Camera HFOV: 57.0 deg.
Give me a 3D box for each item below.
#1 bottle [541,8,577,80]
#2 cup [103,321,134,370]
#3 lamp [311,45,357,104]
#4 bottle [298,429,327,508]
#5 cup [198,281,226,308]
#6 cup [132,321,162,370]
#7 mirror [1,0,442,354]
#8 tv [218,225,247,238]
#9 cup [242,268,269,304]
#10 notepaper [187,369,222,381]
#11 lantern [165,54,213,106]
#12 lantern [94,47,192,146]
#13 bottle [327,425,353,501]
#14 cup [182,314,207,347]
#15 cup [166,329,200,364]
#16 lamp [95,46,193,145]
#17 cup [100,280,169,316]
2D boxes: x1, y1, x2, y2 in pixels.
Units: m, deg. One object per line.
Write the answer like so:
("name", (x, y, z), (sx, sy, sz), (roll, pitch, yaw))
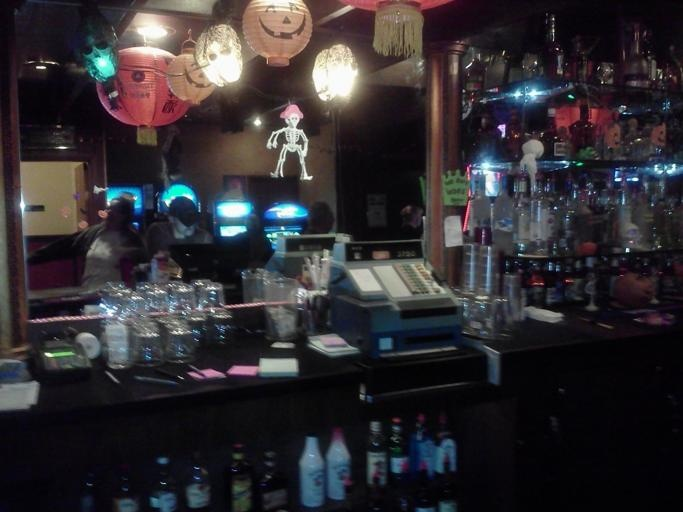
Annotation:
("bottle", (1.371, -1.312, 4.041), (0.162, 0.345, 0.432), (-4, -2, 23))
("cup", (-1.033, 0.410, 2.858), (0.143, 0.213, 0.072), (-3, -2, 14))
("lamp", (-0.053, -1.100, 3.871), (0.277, 0.333, 0.343), (1, 3, -10))
("bottle", (-0.145, 1.050, 3.045), (0.122, 0.325, 0.089), (-2, -2, -25))
("cup", (-0.681, 0.210, 3.300), (0.124, 0.103, 0.122), (-2, 0, 0))
("cup", (-0.901, 0.398, 2.887), (0.128, 0.214, 0.078), (-2, -2, -18))
("mirror", (-0.859, -0.622, 4.426), (2.353, 1.970, 0.696), (-2, -4, -28))
("tv", (-1.138, -0.262, 6.534), (0.299, 0.067, 0.265), (-1, 8, -22))
("cup", (-0.507, 0.167, 3.759), (0.127, 0.211, 0.149), (15, -36, -18))
("notepaper", (-0.599, 0.523, 2.752), (0.162, 0.032, 0.116), (-4, -2, 44))
("lantern", (-0.900, -1.025, 3.661), (0.280, 0.291, 0.274), (-4, 17, -22))
("lantern", (-1.242, -0.959, 3.929), (0.548, 0.596, 0.532), (1, 5, 17))
("bottle", (-0.023, 1.020, 3.068), (0.122, 0.346, 0.064), (-3, -2, -2))
("cup", (-0.707, 0.369, 3.085), (0.140, 0.154, 0.138), (1, -1, 0))
("cup", (-0.750, 0.426, 2.994), (0.149, 0.138, 0.148), (3, 3, 0))
("lamp", (-1.230, -1.009, 3.921), (0.586, 0.620, 0.574), (-4, 6, -34))
("cup", (-1.040, 0.222, 3.185), (0.187, 0.086, 0.265), (2, 3, 32))
